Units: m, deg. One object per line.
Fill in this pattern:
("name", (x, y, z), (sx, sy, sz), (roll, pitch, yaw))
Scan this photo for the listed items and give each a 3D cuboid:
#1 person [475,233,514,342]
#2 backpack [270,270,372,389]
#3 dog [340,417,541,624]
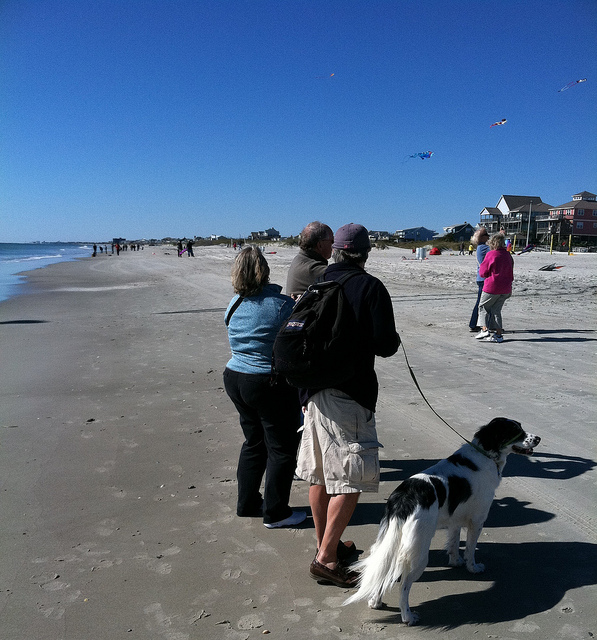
("person", (3.848, -0.623, 9.717), (0.608, 2.103, 0.521), (4, 7, 20))
("backpack", (0.111, 0.069, 2.854), (0.491, 0.700, 0.450), (6, -6, -24))
("dog", (0.804, 1.092, 2.796), (1.297, 0.855, 0.348), (-8, 9, -30))
